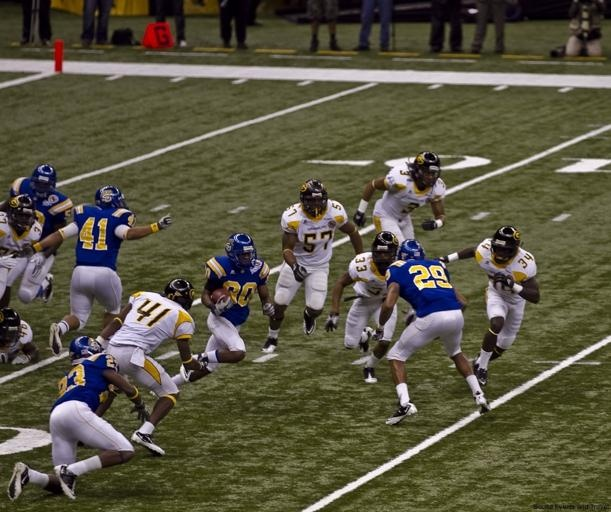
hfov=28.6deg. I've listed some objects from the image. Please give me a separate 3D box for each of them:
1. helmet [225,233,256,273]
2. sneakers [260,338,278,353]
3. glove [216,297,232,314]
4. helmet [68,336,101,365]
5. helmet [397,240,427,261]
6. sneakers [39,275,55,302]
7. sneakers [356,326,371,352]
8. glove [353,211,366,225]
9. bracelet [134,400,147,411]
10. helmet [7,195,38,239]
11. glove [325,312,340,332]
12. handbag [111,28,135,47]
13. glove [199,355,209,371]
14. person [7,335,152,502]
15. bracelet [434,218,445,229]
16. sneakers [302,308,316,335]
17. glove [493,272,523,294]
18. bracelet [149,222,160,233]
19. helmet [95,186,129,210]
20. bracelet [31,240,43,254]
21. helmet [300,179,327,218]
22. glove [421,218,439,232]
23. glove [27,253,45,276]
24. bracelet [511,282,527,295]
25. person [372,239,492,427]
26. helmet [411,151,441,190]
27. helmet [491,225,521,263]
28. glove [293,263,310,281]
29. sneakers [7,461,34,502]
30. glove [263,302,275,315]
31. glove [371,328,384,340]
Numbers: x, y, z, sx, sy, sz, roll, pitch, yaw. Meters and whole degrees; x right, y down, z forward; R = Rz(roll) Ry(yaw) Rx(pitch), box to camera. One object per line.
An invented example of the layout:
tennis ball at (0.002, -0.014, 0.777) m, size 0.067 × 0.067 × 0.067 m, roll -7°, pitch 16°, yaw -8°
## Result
helmet at (-0.597, -0.041, 11.160) m, size 0.275 × 0.332 × 0.232 m, roll 3°, pitch 11°, yaw -7°
sneakers at (-0.362, 0.899, 11.896) m, size 0.090 × 0.074 × 0.206 m, roll 4°, pitch 4°, yaw 13°
glove at (-0.767, 0.459, 11.041) m, size 0.125 × 0.162 × 0.071 m, roll 37°, pitch 45°, yaw -19°
helmet at (-1.831, 0.757, 9.789) m, size 0.280 × 0.190 × 0.198 m, roll -26°, pitch 11°, yaw -19°
helmet at (0.975, -0.041, 11.130) m, size 0.194 × 0.185 × 0.210 m, roll 4°, pitch 27°, yaw -5°
sneakers at (-2.717, 0.347, 12.627) m, size 0.156 × 0.360 × 0.174 m, roll 5°, pitch 27°, yaw -11°
sneakers at (0.554, 0.823, 11.842) m, size 0.144 × 0.248 × 0.102 m, roll 7°, pitch -5°, yaw 31°
glove at (0.590, -0.413, 13.199) m, size 0.073 × 0.147 × 0.123 m, roll 29°, pitch 5°, yaw -37°
bracelet at (-1.368, 1.244, 9.896) m, size 0.092 × 0.083 × 0.099 m, roll 41°, pitch -23°, yaw -24°
helmet at (-2.831, -0.425, 11.942) m, size 0.336 × 0.357 × 0.412 m, roll -4°, pitch 24°, yaw -31°
glove at (0.235, 0.629, 11.316) m, size 0.123 × 0.182 × 0.060 m, roll 33°, pitch 17°, yaw 11°
handbag at (-3.490, -4.267, 23.146) m, size 0.489 × 0.337 × 0.414 m, roll -1°, pitch 6°, yaw -25°
glove at (-0.942, 0.953, 10.737) m, size 0.108 × 0.107 × 0.112 m, roll -4°, pitch -14°, yaw -10°
person at (-1.794, 1.322, 9.493) m, size 0.882 × 1.185 × 1.000 m, roll 4°, pitch 11°, yaw 0°
bracelet at (1.425, -0.345, 12.965) m, size 0.120 × 0.076 × 0.115 m, roll 0°, pitch 13°, yaw -4°
sneakers at (0.030, 0.673, 12.062) m, size 0.122 × 0.250 × 0.133 m, roll -1°, pitch 3°, yaw 3°
glove at (1.843, 0.255, 11.097) m, size 0.180 × 0.079 × 0.247 m, roll -36°, pitch 60°, yaw -23°
bracelet at (-1.460, -0.277, 11.635) m, size 0.102 × 0.082 × 0.113 m, roll -17°, pitch 12°, yaw 4°
helmet at (-1.911, -0.590, 11.894) m, size 0.323 × 0.254 × 0.249 m, roll -14°, pitch 22°, yaw -30°
bracelet at (-2.672, -0.094, 11.998) m, size 0.128 × 0.101 × 0.102 m, roll -26°, pitch -8°, yaw 41°
helmet at (0.077, -0.571, 11.991) m, size 0.263 × 0.381 × 0.250 m, roll 4°, pitch 11°, yaw -1°
glove at (1.364, -0.345, 13.384) m, size 0.224 × 0.084 × 0.255 m, roll 4°, pitch 4°, yaw 12°
glove at (-2.751, 0.077, 12.266) m, size 0.167 × 0.200 × 0.094 m, roll 42°, pitch -33°, yaw -24°
bracelet at (1.951, 0.295, 11.093) m, size 0.100 × 0.102 × 0.202 m, roll 6°, pitch 10°, yaw 14°
person at (1.110, 0.724, 10.674) m, size 0.950 × 1.475 × 1.157 m, roll 3°, pitch 11°, yaw -4°
helmet at (1.252, -0.905, 12.769) m, size 0.301 × 0.409 × 0.360 m, roll 4°, pitch 11°, yaw -1°
helmet at (1.845, -0.141, 11.132) m, size 0.298 × 0.297 × 0.326 m, roll 14°, pitch 51°, yaw 23°
glove at (-0.098, 0.160, 11.793) m, size 0.066 × 0.124 × 0.176 m, roll -41°, pitch 49°, yaw -12°
sneakers at (-2.172, 1.717, 9.147) m, size 0.140 × 0.313 × 0.157 m, roll 29°, pitch -11°, yaw -27°
glove at (-0.364, 0.503, 11.299) m, size 0.104 × 0.110 × 0.104 m, roll 5°, pitch 47°, yaw -17°
glove at (0.644, 0.717, 11.013) m, size 0.108 × 0.120 × 0.055 m, roll 9°, pitch 42°, yaw 12°
